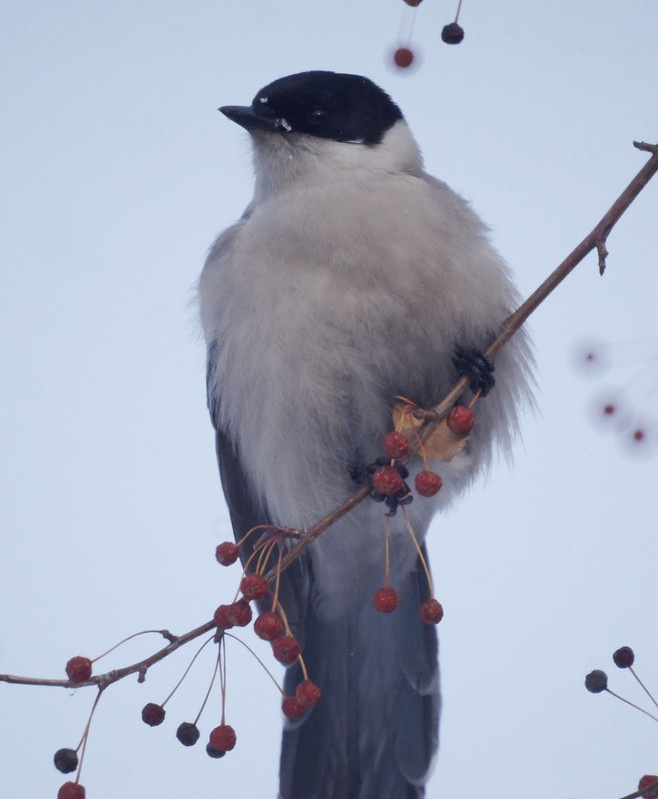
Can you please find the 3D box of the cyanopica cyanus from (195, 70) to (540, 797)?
[{"bbox_3d":[0.031,-0.036,2.408,0.359,1.415,0.546,0,8,-4],"label":"cyanopica cyanus"}]

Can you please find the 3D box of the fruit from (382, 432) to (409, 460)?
[{"bbox_3d":[0.087,0.061,2.024,0.029,0.045,0.032,-3,18,0],"label":"fruit"}]

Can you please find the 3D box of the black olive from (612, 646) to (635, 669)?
[{"bbox_3d":[0.403,0.357,2.115,0.026,0.026,0.058,-1,1,14],"label":"black olive"}]

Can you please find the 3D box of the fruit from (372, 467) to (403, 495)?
[{"bbox_3d":[0.070,0.101,2.030,0.030,0.040,0.022,2,12,6],"label":"fruit"}]

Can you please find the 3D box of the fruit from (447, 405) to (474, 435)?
[{"bbox_3d":[0.175,0.029,2.055,0.025,0.042,0.031,15,-22,19],"label":"fruit"}]
